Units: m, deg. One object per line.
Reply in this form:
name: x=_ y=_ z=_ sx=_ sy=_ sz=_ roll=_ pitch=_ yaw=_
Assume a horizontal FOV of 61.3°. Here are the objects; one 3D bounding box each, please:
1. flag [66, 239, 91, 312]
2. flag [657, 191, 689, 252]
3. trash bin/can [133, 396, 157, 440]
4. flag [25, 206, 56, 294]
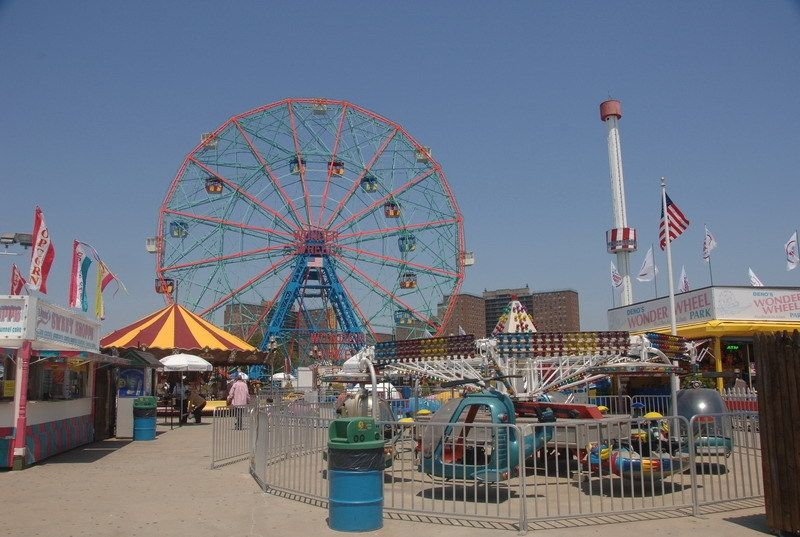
flag: x=-10.178 y=0.239 z=21.457 sx=0.482 sy=2.346 sz=1.997 roll=4 pitch=-14 yaw=-25
flag: x=10.983 y=-1.946 z=27.310 sx=1.044 sy=2.322 sz=0.978 roll=-7 pitch=-13 yaw=21
trash bin/can: x=-8.340 y=4.900 z=22.151 sx=1.013 sy=1.404 sz=0.581 roll=-10 pitch=-15 yaw=30
flag: x=-10.346 y=-0.469 z=19.499 sx=0.545 sy=2.387 sz=1.252 roll=5 pitch=-14 yaw=-28
